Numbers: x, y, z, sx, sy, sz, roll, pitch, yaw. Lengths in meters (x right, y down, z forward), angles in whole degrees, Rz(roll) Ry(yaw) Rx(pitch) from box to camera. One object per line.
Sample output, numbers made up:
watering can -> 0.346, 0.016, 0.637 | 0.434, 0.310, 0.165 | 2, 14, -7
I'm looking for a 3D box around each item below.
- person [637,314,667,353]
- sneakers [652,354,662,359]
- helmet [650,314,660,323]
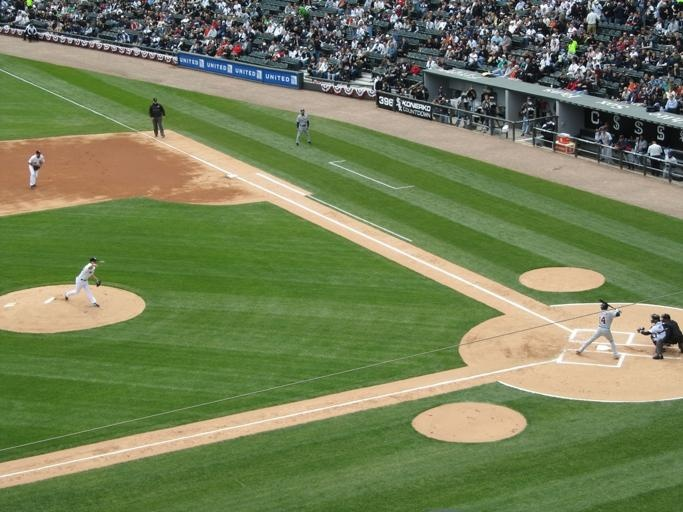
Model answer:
person -> 12.269, 3.044, 49.429 | 0.901, 1.623, 1.141 | -11, 21, -40
sneakers -> 12.292, 3.874, 49.198 | 0.434, 0.206, 0.228 | 4, 14, 8
helmet -> 12.219, 2.388, 49.390 | 0.362, 0.296, 0.383 | 2, 15, 6
